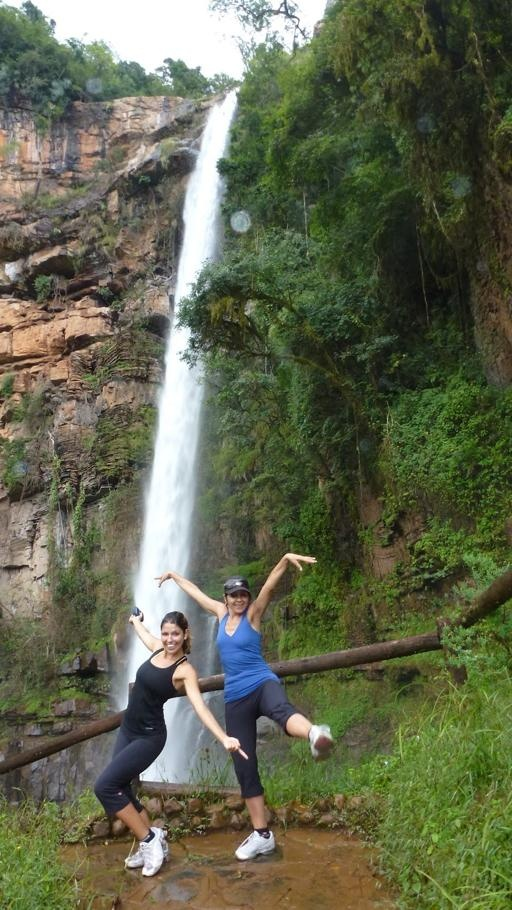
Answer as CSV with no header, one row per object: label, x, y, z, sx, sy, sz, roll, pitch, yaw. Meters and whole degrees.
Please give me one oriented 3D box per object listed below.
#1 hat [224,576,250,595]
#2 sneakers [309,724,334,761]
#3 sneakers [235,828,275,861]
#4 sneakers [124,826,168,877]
hat,-0.103,0.658,3.643,0.077,0.067,0.121,1,-24,-2
sneakers,0.276,1.195,2.972,0.083,0.063,0.163,-21,-41,-15
sneakers,0.003,1.847,3.472,0.229,0.130,0.090,2,-8,-33
sneakers,-0.519,1.928,3.474,0.117,0.271,0.130,33,-62,-8
